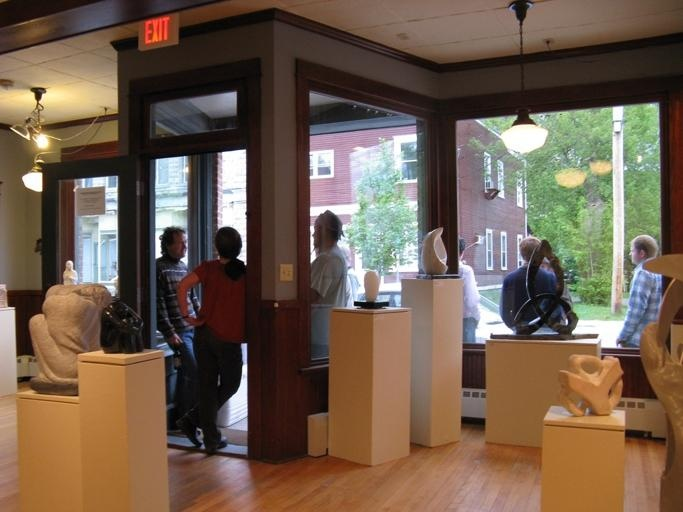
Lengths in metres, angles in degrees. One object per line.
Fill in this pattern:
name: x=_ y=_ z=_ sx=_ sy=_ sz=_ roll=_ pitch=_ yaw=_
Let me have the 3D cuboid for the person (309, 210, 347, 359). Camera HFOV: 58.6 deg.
person: x=-0.110 y=0.220 z=4.952 sx=0.194 sy=1.176 sz=0.471 roll=4 pitch=9 yaw=34

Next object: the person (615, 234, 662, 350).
person: x=2.539 y=0.304 z=5.203 sx=0.357 sy=0.968 sz=0.228 roll=-4 pitch=8 yaw=-22

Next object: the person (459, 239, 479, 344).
person: x=1.158 y=0.326 z=5.626 sx=0.138 sy=0.944 sz=0.236 roll=-4 pitch=8 yaw=-25

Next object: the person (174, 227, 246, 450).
person: x=-1.015 y=0.657 z=4.840 sx=0.560 sy=1.757 sz=0.372 roll=-1 pitch=7 yaw=-3

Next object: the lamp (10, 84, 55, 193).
lamp: x=-3.315 y=-1.194 z=6.469 sx=0.427 sy=1.066 sz=2.162 roll=-4 pitch=8 yaw=-25
